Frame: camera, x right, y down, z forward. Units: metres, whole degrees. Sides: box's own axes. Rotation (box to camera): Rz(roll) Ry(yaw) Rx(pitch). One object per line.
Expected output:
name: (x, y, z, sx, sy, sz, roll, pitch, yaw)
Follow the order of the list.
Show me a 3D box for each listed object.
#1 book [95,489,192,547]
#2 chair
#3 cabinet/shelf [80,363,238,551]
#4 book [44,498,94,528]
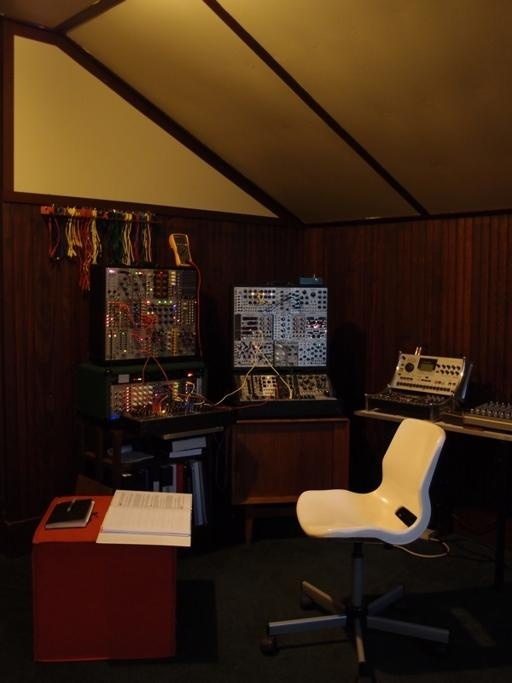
book: (-0.420, 0.695, 2.315, 0.328, 0.090, 0.515, 0, 3, -6)
chair: (0.451, 0.706, 2.569, 0.733, 1.054, 0.848, 2, 0, -15)
cabinet/shelf: (-0.494, 0.647, 3.263, 0.546, 0.996, 0.512, -6, 11, -13)
book: (-0.722, 0.666, 2.308, 0.162, 0.032, 0.279, 0, 3, -10)
